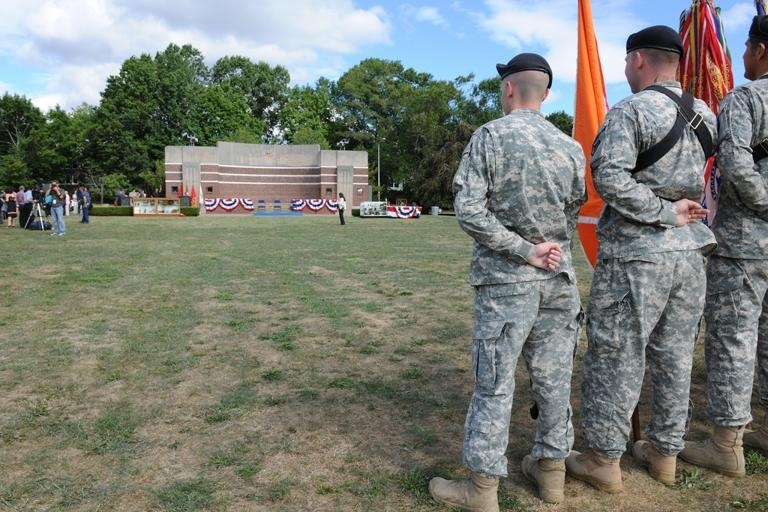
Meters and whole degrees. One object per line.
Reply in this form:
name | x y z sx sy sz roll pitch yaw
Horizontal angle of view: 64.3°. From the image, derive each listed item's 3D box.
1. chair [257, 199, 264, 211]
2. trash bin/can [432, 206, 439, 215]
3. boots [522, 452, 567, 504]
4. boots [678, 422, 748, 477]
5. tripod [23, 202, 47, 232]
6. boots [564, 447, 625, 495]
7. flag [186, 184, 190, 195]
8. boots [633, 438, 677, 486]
chair | -10.806 -4.512 53.766 0.594 0.306 1.420 3 35 -13
trash bin/can | 3.743 -3.419 45.582 0.634 0.687 0.646 0 3 22
boots | 1.252 1.742 4.822 0.199 0.293 0.431 -1 8 -2
boots | 2.736 1.593 5.148 0.236 0.386 0.525 6 -2 -33
tripod | -11.937 -1.393 21.138 0.714 0.922 2.189 -3 7 -31
boots | 1.663 1.693 4.973 0.209 0.349 0.494 5 9 -37
flag | -16.591 -5.709 51.944 0.439 0.835 1.045 -2 6 -18
boots | 2.185 1.669 5.004 0.182 0.284 0.440 0 14 -1
